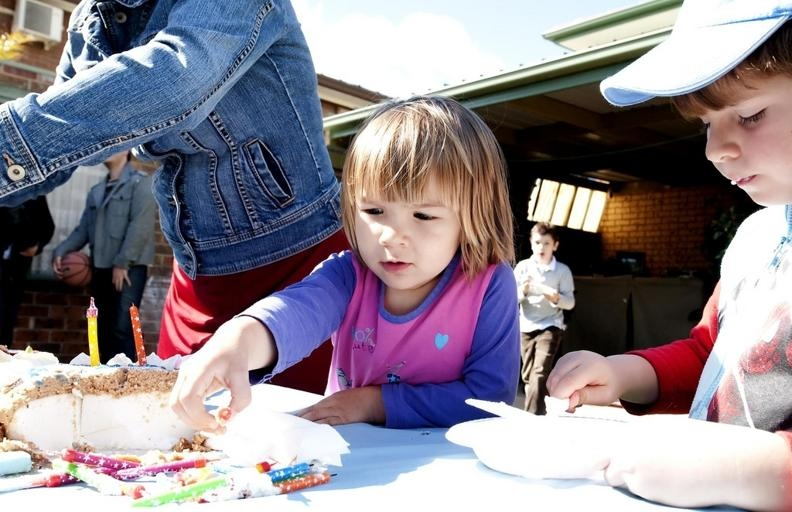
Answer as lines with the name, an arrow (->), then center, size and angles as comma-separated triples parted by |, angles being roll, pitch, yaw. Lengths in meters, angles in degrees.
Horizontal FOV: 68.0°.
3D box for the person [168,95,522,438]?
person -> -0.109, 0.010, 1.584 | 0.898, 0.927, 0.527 | 16, -15, -43
